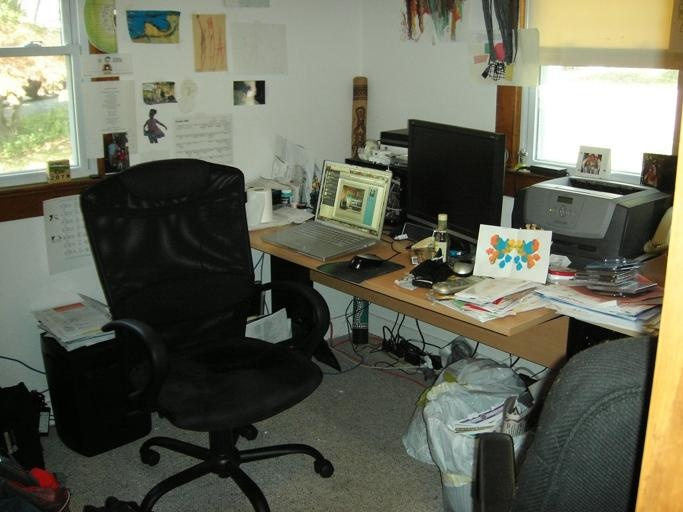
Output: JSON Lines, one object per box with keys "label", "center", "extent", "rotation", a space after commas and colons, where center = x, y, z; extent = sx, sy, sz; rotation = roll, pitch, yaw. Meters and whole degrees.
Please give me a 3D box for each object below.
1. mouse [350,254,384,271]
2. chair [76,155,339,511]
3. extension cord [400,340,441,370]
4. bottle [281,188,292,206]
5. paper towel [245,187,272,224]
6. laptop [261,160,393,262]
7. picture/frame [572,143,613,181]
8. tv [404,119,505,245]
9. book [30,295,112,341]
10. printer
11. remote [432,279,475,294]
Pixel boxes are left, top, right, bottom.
{"label": "mouse", "center": [0.099, 0.024, 2.284], "extent": [0.110, 0.037, 0.065], "rotation": [-5, 13, -25]}
{"label": "chair", "center": [-0.517, 0.341, 2.124], "extent": [0.753, 1.395, 0.821], "rotation": [-14, 24, -39]}
{"label": "extension cord", "center": [0.453, 0.592, 3.238], "extent": [0.322, 0.123, 0.087], "rotation": [19, 14, 32]}
{"label": "bottle", "center": [-0.317, -0.346, 3.086], "extent": [0.085, 0.091, 0.084], "rotation": [7, 12, 16]}
{"label": "paper towel", "center": [-0.420, -0.287, 2.869], "extent": [0.183, 0.175, 0.160], "rotation": [12, 25, 24]}
{"label": "laptop", "center": [-0.076, -0.238, 2.575], "extent": [0.546, 0.341, 0.503], "rotation": [15, 27, 40]}
{"label": "picture/frame", "center": [1.115, -0.423, 2.353], "extent": [0.116, 0.110, 0.065], "rotation": [13, 33, 29]}
{"label": "tv", "center": [0.506, -0.327, 2.403], "extent": [0.192, 0.549, 0.595], "rotation": [-11, 23, -28]}
{"label": "book", "center": [-1.245, 0.299, 2.497], "extent": [0.341, 0.077, 0.322], "rotation": [-14, 30, -42]}
{"label": "printer", "center": [1.005, -0.146, 2.195], "extent": [0.366, 0.309, 0.517], "rotation": [-16, 25, -43]}
{"label": "remote", "center": [0.441, 0.103, 2.035], "extent": [0.145, 0.037, 0.069], "rotation": [-15, 21, -36]}
